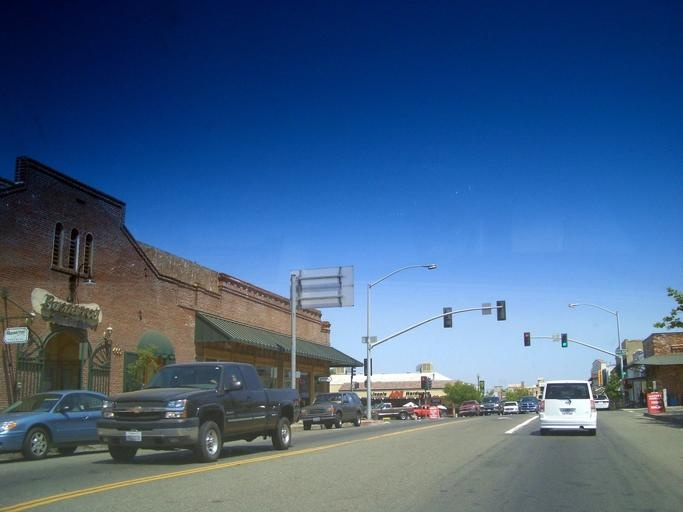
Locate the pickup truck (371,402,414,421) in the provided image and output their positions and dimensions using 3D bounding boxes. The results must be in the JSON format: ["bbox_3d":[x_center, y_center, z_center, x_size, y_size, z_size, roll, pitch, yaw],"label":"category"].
[{"bbox_3d":[4.435,13.380,54.557,3.541,1.315,1.641,11,-20,-30],"label":"pickup truck"}]

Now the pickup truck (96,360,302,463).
[{"bbox_3d":[-3.804,4.539,18.363,3.346,2.538,6.570,-6,-13,25],"label":"pickup truck"}]

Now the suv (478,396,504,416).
[{"bbox_3d":[15.552,15.573,65.494,2.001,1.870,3.728,-5,-16,10],"label":"suv"}]

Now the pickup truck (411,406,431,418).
[{"bbox_3d":[7.437,14.367,58.907,1.288,0.975,2.110,0,-20,-1],"label":"pickup truck"}]

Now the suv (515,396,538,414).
[{"bbox_3d":[18.710,14.903,63.195,1.481,1.360,2.777,-5,-24,12],"label":"suv"}]

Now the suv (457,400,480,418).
[{"bbox_3d":[13.751,16.355,67.480,1.464,1.413,3.048,-9,-27,15],"label":"suv"}]
